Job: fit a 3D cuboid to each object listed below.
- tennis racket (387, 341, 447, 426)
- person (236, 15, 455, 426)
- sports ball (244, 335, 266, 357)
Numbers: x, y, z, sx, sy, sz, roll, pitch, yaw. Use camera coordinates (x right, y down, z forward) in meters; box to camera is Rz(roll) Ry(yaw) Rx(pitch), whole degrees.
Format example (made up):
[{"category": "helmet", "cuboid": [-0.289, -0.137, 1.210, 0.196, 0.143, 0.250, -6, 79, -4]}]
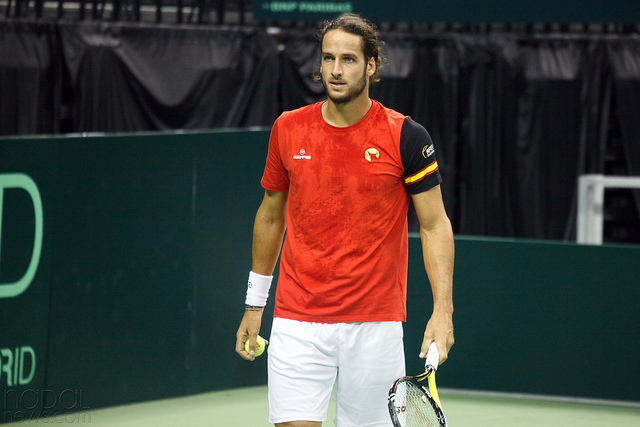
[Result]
[{"category": "tennis racket", "cuboid": [0.619, 1.081, 5.083, 0.073, 0.371, 0.936, -35, 11, 21]}, {"category": "person", "cuboid": [0.157, 0.067, 4.974, 1.335, 2.493, 0.335, 2, 2, 10]}, {"category": "sports ball", "cuboid": [-0.410, 0.848, 5.226, 0.137, 0.136, 0.127, 11, -21, 4]}]
